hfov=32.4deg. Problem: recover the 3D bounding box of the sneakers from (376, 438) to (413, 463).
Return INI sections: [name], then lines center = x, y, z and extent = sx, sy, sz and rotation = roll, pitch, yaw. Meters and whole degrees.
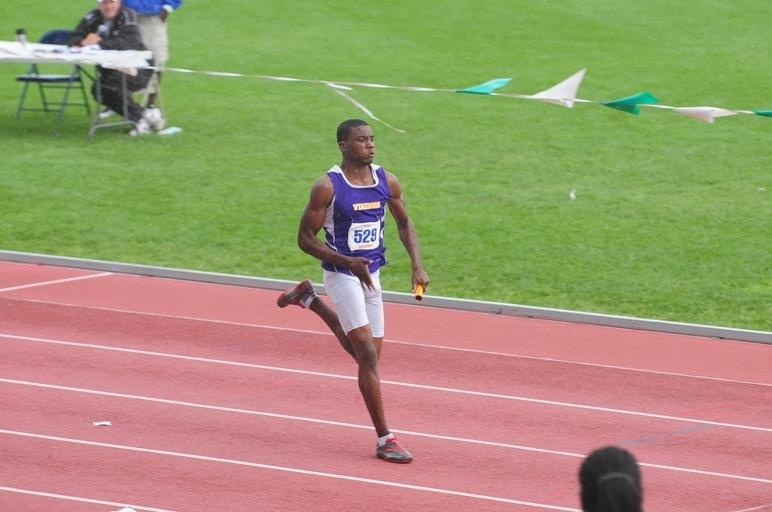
[sneakers]
center = 0.080, 2.292, 15.642
extent = 0.498, 0.183, 0.232
rotation = 5, 8, 24
